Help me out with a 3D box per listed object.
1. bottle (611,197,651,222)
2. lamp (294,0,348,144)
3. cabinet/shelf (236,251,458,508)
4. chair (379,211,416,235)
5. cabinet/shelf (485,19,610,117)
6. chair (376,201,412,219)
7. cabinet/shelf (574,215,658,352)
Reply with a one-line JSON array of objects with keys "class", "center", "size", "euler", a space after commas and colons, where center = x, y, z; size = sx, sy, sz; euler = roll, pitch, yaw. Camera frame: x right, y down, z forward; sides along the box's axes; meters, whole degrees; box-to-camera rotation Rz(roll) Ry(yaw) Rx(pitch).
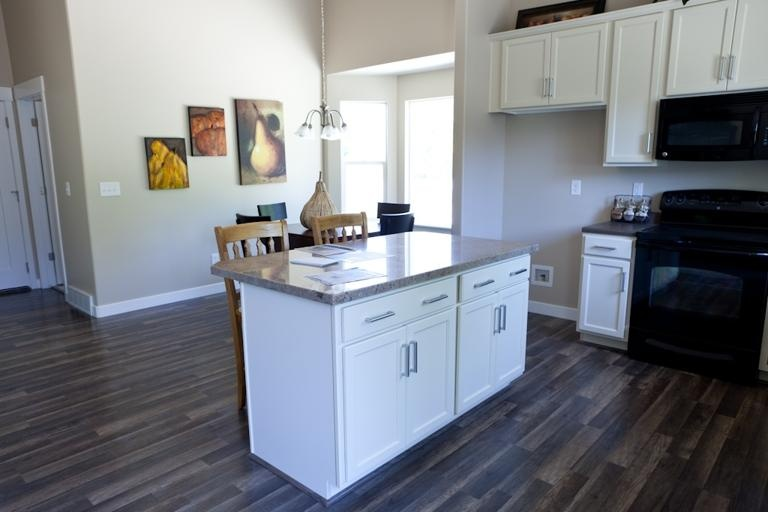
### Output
[{"class": "bottle", "center": [2.362, -0.437, 4.933], "size": [0.100, 0.208, 0.246], "euler": [-3, 6, -45]}, {"class": "lamp", "center": [-0.827, -2.318, 6.299], "size": [0.599, 1.838, 1.848], "euler": [-6, 15, -4]}, {"class": "cabinet/shelf", "center": [-0.218, 0.813, 3.885], "size": [1.048, 1.311, 1.436], "euler": [6, 8, 41]}, {"class": "chair", "center": [0.138, -0.369, 5.389], "size": [0.252, 0.356, 0.306], "euler": [-7, 23, -20]}, {"class": "cabinet/shelf", "center": [1.660, -1.832, 5.093], "size": [1.218, 0.760, 0.404], "euler": [7, 17, 35]}, {"class": "chair", "center": [0.113, -0.591, 6.520], "size": [0.380, 0.153, 0.284], "euler": [-8, 14, -23]}, {"class": "cabinet/shelf", "center": [2.232, 0.284, 4.935], "size": [0.608, 1.135, 0.494], "euler": [-4, 9, -40]}]
